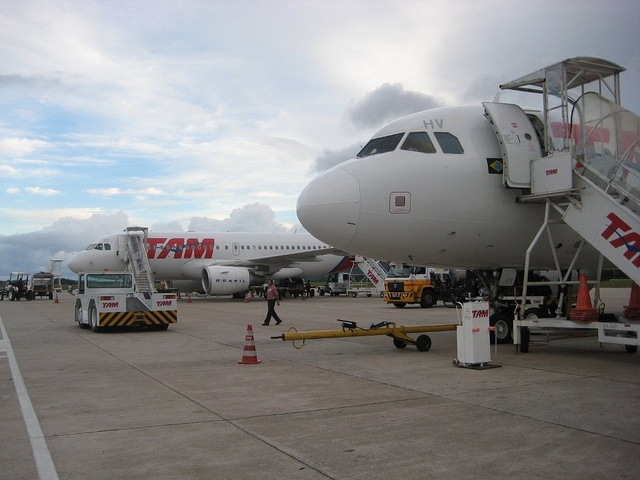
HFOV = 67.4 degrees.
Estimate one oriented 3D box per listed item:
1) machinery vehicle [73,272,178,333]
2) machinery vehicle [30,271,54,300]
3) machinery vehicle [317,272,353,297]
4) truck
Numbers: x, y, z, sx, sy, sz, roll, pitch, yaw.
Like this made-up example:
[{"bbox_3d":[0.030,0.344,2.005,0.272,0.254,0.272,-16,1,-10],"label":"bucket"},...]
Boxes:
[{"bbox_3d":[-6.870,1.988,16.615,2.401,1.442,3.688,-2,2,-38],"label":"machinery vehicle"},{"bbox_3d":[-22.554,3.732,38.895,1.599,2.134,2.681,1,-4,-30],"label":"machinery vehicle"},{"bbox_3d":[1.411,3.752,40.516,2.015,1.458,2.731,3,-6,-28],"label":"machinery vehicle"},{"bbox_3d":[5.321,2.570,26.155,5.810,2.016,2.435,5,-9,-31],"label":"truck"}]
